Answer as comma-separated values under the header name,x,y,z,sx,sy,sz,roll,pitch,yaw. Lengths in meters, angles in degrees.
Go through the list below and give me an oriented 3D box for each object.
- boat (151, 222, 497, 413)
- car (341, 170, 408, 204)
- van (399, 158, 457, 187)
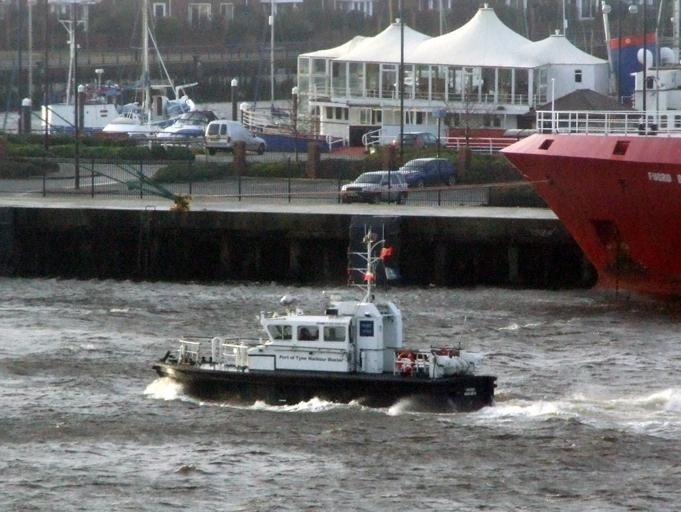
name,x,y,z,sx,sy,sz,roll,pitch,yaw
boat,-0.355,2.515,71.973,11.283,6.701,1.958,0,6,11
car,1.642,-3.085,94.437,2.168,1.857,3.518,3,1,39
van,4.329,-4.074,97.471,1.360,1.142,2.257,1,0,45
